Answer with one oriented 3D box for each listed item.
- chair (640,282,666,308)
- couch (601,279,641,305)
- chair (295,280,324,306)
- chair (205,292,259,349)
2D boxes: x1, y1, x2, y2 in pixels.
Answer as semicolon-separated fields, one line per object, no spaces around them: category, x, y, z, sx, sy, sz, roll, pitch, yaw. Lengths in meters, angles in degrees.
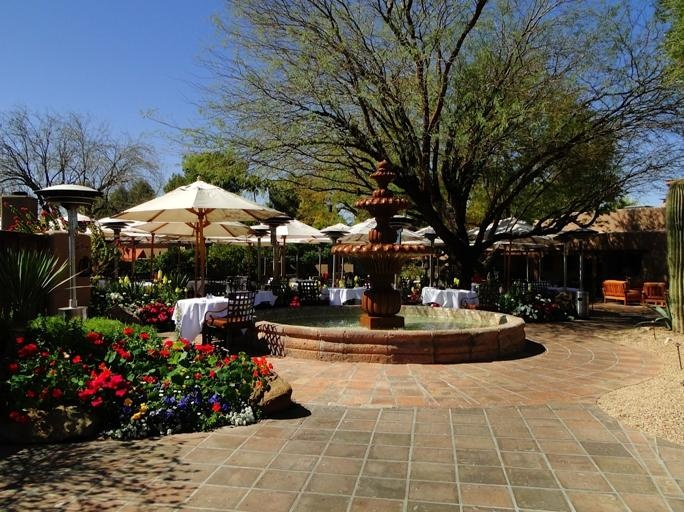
chair;11.682;1.461;17.720;0.781;0.788;0.735;2;0;38
couch;11.603;1.502;19.597;0.727;1.009;1.643;1;4;-2
chair;-1.050;1.203;15.452;0.698;0.761;0.730;1;1;3
chair;-2.182;1.207;9.100;0.869;1.220;0.961;5;5;2
